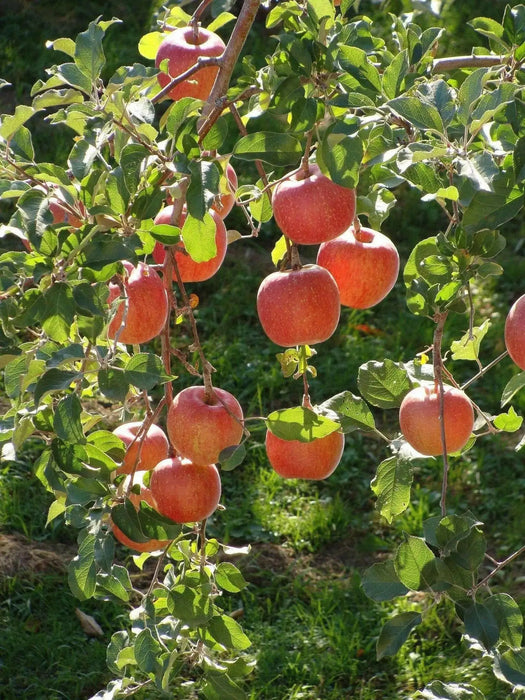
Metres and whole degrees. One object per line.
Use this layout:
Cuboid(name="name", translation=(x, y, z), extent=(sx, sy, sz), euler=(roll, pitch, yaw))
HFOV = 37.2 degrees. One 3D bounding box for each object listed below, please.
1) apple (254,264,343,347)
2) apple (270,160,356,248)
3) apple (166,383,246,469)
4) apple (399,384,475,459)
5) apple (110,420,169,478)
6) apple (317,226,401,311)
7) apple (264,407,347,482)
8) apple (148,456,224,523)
Cuboid(name="apple", translation=(0.067, -0.077, 1.410), extent=(0.161, 0.150, 0.122), euler=(2, 103, 30))
Cuboid(name="apple", translation=(0.086, -0.241, 1.283), extent=(0.140, 0.111, 0.119), euler=(1, 41, 27))
Cuboid(name="apple", translation=(-0.100, 0.118, 1.331), extent=(0.123, 0.076, 0.149), euler=(-10, 60, -8))
Cuboid(name="apple", translation=(0.309, 0.130, 1.379), extent=(0.153, 0.131, 0.112), euler=(-2, 90, -5))
Cuboid(name="apple", translation=(-0.221, 0.180, 1.481), extent=(0.122, 0.111, 0.090), euler=(-3, 98, -4))
Cuboid(name="apple", translation=(0.180, -0.155, 1.510), extent=(0.186, 0.138, 0.158), euler=(10, 22, -4))
Cuboid(name="apple", translation=(0.101, 0.169, 1.438), extent=(0.178, 0.158, 0.126), euler=(4, 94, 7))
Cuboid(name="apple", translation=(-0.133, 0.245, 1.386), extent=(0.137, 0.120, 0.101), euler=(2, 85, -2))
